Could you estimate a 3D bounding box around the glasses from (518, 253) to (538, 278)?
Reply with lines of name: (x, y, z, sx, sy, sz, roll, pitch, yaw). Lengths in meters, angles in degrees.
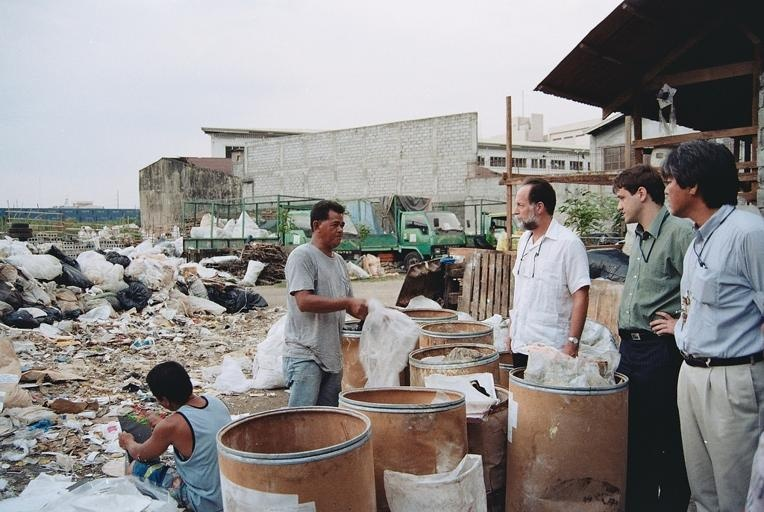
glasses: (1.295, 0.099, 5.869, 0.128, 0.169, 0.181, -13, -46, 27)

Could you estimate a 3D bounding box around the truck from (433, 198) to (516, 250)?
truck: (4.060, -0.965, 28.394, 2.464, 3.276, 4.748, 9, 4, 1)

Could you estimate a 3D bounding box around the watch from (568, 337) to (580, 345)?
watch: (1.623, 0.700, 5.553, 0.077, 0.053, 0.071, 12, -5, -33)

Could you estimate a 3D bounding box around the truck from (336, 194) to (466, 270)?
truck: (0.479, -0.779, 22.045, 4.190, 2.531, 1.968, 1, 6, 42)
